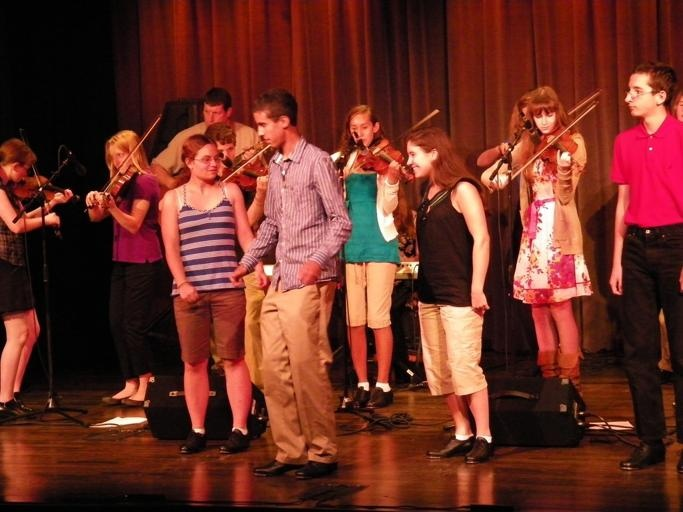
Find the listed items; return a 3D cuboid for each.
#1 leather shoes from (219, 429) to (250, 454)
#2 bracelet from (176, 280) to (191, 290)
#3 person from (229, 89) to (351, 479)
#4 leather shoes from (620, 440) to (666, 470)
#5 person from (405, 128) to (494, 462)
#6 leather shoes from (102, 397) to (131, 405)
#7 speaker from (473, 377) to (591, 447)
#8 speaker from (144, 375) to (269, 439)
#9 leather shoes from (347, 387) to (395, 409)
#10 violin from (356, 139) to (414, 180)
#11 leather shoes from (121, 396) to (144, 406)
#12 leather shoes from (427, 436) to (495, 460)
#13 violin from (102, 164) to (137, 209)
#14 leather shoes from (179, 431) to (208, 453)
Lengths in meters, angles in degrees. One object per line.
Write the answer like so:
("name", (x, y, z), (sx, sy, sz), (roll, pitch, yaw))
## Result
("leather shoes", (-0.637, 1.123, 4.556), (0.080, 0.120, 0.238), (-7, -13, 27))
("bracelet", (-0.937, 0.166, 4.487), (0.131, 0.050, 0.046), (1, 5, 30))
("person", (-0.252, 0.148, 4.080), (0.625, 2.094, 0.296), (1, 4, 30))
("leather shoes", (1.660, 1.091, 4.163), (0.313, 0.147, 0.112), (-6, -5, -15))
("person", (0.627, 0.212, 4.318), (0.458, 1.894, 0.227), (0, 4, 25))
("leather shoes", (-1.729, 1.117, 5.774), (0.153, 0.057, 0.082), (0, -11, -3))
("speaker", (1.136, 0.925, 4.442), (0.666, 0.380, 0.460), (-4, -38, 27))
("speaker", (-0.922, 0.851, 4.859), (0.543, 0.407, 0.471), (0, 5, 9))
("leather shoes", (0.232, 1.033, 5.511), (0.247, 0.109, 0.139), (9, -11, -36))
("violin", (0.294, -0.681, 5.322), (0.421, 0.232, 0.090), (44, 14, 23))
("leather shoes", (-1.592, 1.108, 5.748), (0.195, 0.061, 0.074), (0, 4, 17))
("leather shoes", (0.712, 1.093, 4.339), (0.424, 0.191, 0.148), (-1, 0, 7))
("violin", (-1.585, -0.506, 5.472), (0.118, 0.253, 0.477), (39, 8, -24))
("leather shoes", (-0.888, 1.130, 4.565), (0.071, 0.092, 0.207), (-4, -11, 20))
